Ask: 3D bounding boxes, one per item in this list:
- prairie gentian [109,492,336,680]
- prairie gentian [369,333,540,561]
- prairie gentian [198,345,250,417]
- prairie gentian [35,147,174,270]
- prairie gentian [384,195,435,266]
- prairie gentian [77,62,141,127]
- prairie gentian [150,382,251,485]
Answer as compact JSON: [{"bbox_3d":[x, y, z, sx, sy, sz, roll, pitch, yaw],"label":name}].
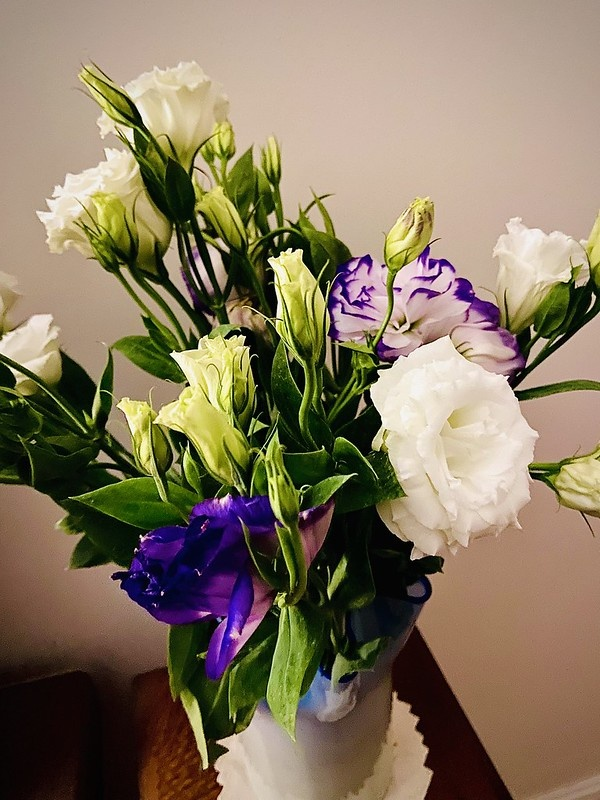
[{"bbox_3d":[-0.033,0.072,0.298,0.080,0.041,0.083,-32,49,24],"label":"prairie gentian"},{"bbox_3d":[0.072,0.024,0.385,0.096,0.093,0.048,-16,2,-13],"label":"prairie gentian"},{"bbox_3d":[-0.030,-0.005,0.324,0.021,0.021,0.036,-37,33,29],"label":"prairie gentian"},{"bbox_3d":[-0.114,-0.103,0.397,0.071,0.067,0.040,5,27,16],"label":"prairie gentian"},{"bbox_3d":[0.055,-0.081,0.352,0.024,0.034,0.013,-13,28,-20],"label":"prairie gentian"},{"bbox_3d":[-0.098,-0.158,0.372,0.027,0.031,0.022,-8,26,-10],"label":"prairie gentian"},{"bbox_3d":[-0.042,0.017,0.317,0.037,0.048,0.023,0,26,6],"label":"prairie gentian"}]
